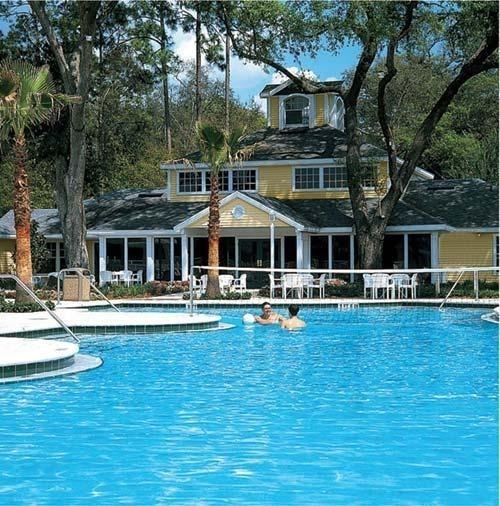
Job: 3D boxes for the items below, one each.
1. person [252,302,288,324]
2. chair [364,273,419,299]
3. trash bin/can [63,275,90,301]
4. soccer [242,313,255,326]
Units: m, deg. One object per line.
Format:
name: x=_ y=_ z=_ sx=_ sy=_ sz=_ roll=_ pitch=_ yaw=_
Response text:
person: x=0.516 y=1.710 z=21.912 sx=0.864 sy=0.880 sz=0.480 roll=-4 pitch=-1 yaw=-33
chair: x=4.905 y=1.134 z=28.344 sx=1.177 sy=0.654 sz=1.273 roll=1 pitch=4 yaw=16
trash bin/can: x=-5.955 y=1.195 z=27.821 sx=0.828 sy=0.976 sz=0.936 roll=0 pitch=-2 yaw=-1
soccer: x=-0.043 y=1.756 z=21.533 sx=0.243 sy=0.313 sz=0.265 roll=9 pitch=32 yaw=-4
